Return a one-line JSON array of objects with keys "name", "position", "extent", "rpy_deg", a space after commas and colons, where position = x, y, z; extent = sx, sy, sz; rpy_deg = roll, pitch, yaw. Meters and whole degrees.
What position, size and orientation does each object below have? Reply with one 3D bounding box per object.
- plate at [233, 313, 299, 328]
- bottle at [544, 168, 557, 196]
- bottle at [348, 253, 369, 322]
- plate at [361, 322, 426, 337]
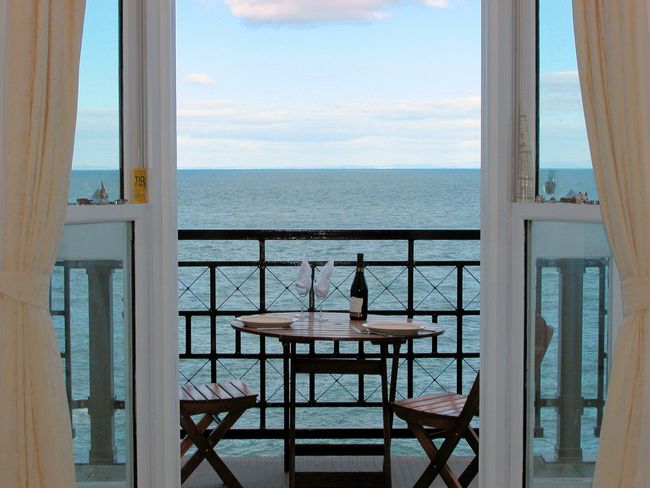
[{"name": "plate", "position": [-0.278, 0.362, 6.666], "extent": [0.262, 0.073, 0.354], "rpy_deg": [-2, -4, -3]}, {"name": "bottle", "position": [0.907, -0.247, 5.775], "extent": [0.007, 0.104, 0.060], "rpy_deg": [1, -4, -44]}, {"name": "bottle", "position": [0.153, 0.203, 6.812], "extent": [0.090, 0.331, 0.253], "rpy_deg": [-2, -3, 1]}, {"name": "plate", "position": [0.306, 0.386, 6.509], "extent": [0.270, 0.068, 0.260], "rpy_deg": [-2, -4, 3]}]
